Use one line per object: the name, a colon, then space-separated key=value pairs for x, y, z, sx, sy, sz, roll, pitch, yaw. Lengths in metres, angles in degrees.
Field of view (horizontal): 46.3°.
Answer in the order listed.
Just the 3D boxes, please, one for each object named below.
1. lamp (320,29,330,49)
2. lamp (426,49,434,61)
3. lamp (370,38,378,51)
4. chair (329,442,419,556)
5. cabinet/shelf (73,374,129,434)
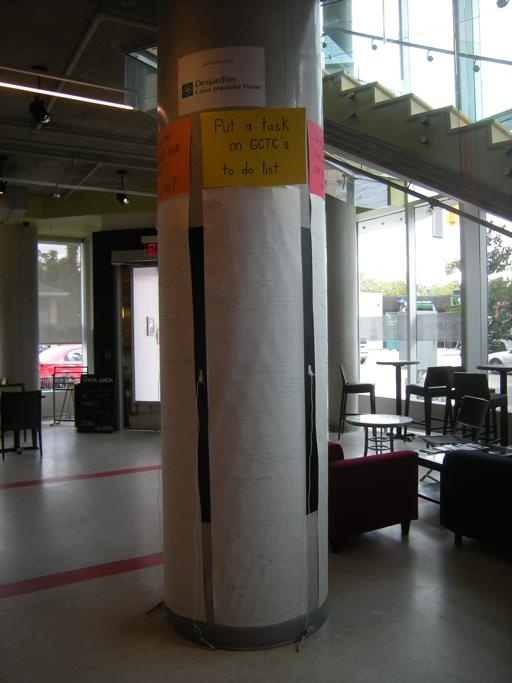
lamp: x=0.702 y=-3.096 z=6.117 sx=0.042 sy=0.177 sz=0.094 roll=0 pitch=1 yaw=31
lamp: x=1.500 y=-2.473 z=5.153 sx=0.023 sy=0.130 sz=0.100 roll=-1 pitch=0 yaw=-12
lamp: x=1.157 y=-2.911 z=5.852 sx=0.063 sy=0.117 sz=0.047 roll=-1 pitch=-18 yaw=1
chair: x=0.723 y=0.959 z=4.183 sx=0.562 sy=0.787 sz=0.636 roll=-3 pitch=2 yaw=-27
cabinet/shelf: x=-2.455 y=0.875 z=9.814 sx=0.856 sy=1.614 sz=0.719 roll=0 pitch=0 yaw=0
